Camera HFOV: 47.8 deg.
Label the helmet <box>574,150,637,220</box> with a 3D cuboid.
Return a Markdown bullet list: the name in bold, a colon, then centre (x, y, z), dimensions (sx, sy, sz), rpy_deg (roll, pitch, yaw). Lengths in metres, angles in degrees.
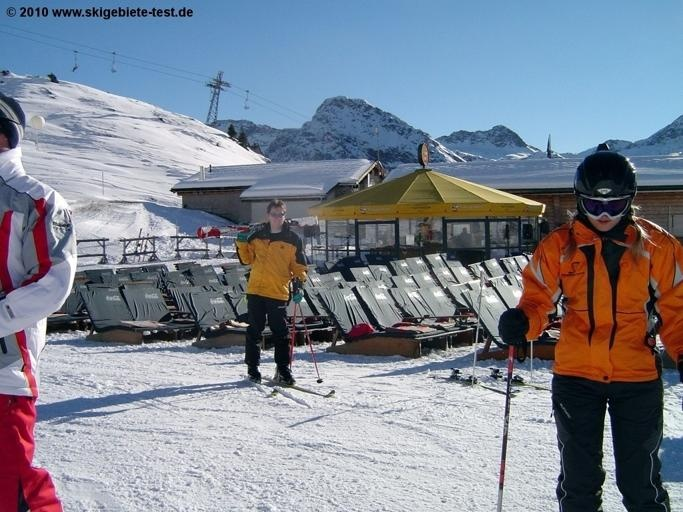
- **helmet**: centre (1.602, -0.444, 4.697), dimensions (0.379, 0.356, 0.441), rpy_deg (1, 20, 11)

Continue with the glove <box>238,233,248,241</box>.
- **glove**: centre (-1.079, -0.205, 8.558), dimensions (0.117, 0.087, 0.103), rpy_deg (-1, 4, -8)

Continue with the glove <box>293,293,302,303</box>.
- **glove**: centre (-0.491, 0.491, 8.825), dimensions (0.092, 0.099, 0.040), rpy_deg (-1, -8, -3)

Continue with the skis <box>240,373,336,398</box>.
- **skis**: centre (-0.591, 1.440, 8.469), dimensions (0.142, 0.083, 1.199), rpy_deg (-4, 6, -41)

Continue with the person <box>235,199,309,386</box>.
- **person**: centre (-0.778, 0.407, 8.614), dimensions (0.680, 2.023, 0.418), rpy_deg (2, 8, 19)

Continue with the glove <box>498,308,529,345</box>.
- **glove**: centre (1.013, 0.417, 4.529), dimensions (0.190, 0.199, 0.093), rpy_deg (0, -1, 32)
